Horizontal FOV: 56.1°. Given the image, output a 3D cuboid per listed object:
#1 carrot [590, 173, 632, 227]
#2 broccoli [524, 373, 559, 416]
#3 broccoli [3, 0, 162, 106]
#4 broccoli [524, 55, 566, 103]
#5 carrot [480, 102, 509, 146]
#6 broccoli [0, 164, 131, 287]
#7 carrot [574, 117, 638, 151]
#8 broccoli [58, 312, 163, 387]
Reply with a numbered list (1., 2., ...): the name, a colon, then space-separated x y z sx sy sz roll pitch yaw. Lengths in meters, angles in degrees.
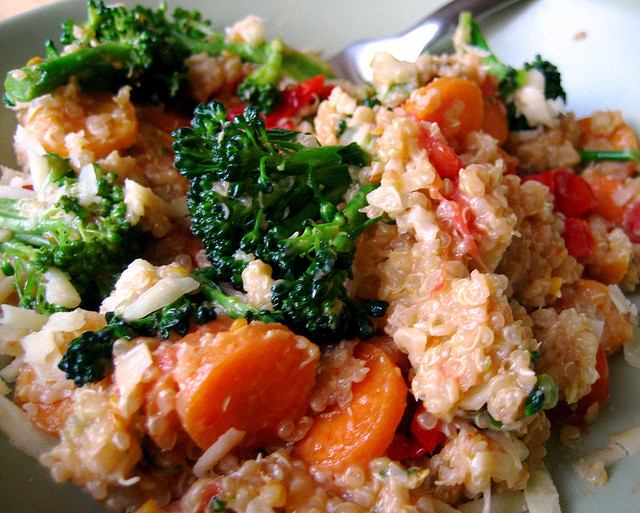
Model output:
1. carrot: 1.178 -0.227 2.524 0.167 0.104 0.185 -8 75 -34
2. broccoli: 0.598 0.396 1.711 0.095 0.118 0.039 -8 50 -40
3. broccoli: -0.881 -0.725 2.286 0.536 0.389 0.296 -18 91 -31
4. broccoli: 0.918 -0.711 2.481 0.103 0.184 0.164 -36 54 -5
5. carrot: 0.715 -0.535 2.455 0.091 0.164 0.164 5 48 18
6. broccoli: -0.771 -0.080 2.036 0.401 0.208 0.336 2 90 12
7. carrot: 1.196 -0.502 2.507 0.242 0.086 0.109 11 63 25
8. broccoli: -0.623 0.251 1.789 0.206 0.381 0.102 15 107 12
